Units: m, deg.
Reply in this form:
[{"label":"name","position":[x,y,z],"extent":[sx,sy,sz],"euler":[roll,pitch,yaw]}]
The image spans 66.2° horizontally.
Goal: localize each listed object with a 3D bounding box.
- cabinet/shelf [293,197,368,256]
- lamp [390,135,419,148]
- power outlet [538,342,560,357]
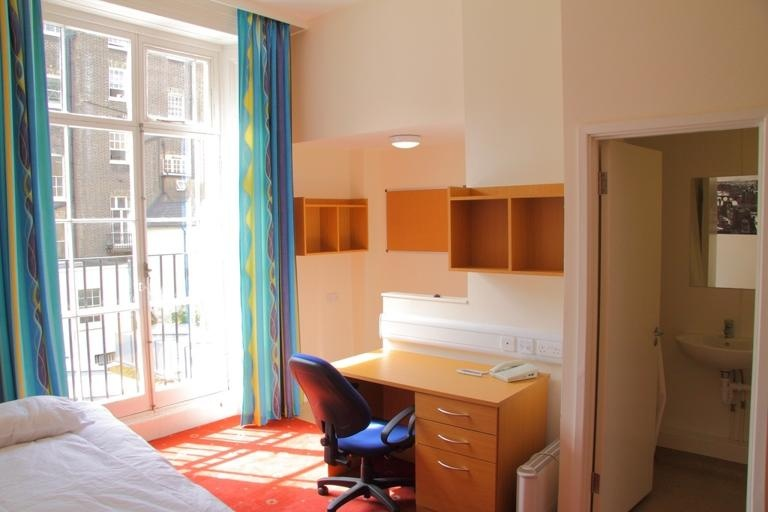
[{"label":"cabinet/shelf","position":[-0.572,-0.312,6.073],"extent":[0.162,0.399,0.632],"euler":[1,2,43]},{"label":"lamp","position":[0.189,-1.038,5.315],"extent":[0.241,0.125,0.293],"euler":[0,13,-1]},{"label":"power outlet","position":[1.200,0.660,4.241],"extent":[0.182,0.127,0.093],"euler":[2,4,37]}]
